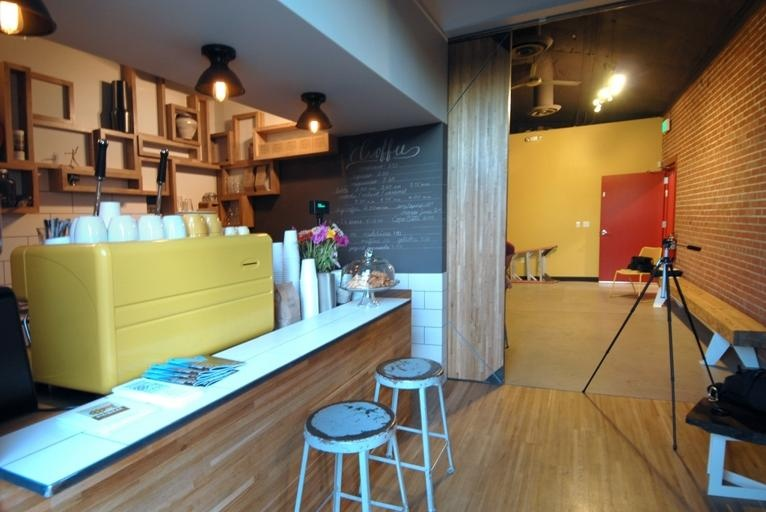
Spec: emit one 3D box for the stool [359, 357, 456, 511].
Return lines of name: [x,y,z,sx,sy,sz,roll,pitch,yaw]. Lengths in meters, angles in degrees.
stool: [0.229,1.172,3.854,0.848,1.326,0.882,0,8,14]

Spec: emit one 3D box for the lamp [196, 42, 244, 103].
lamp: [-1.036,-1.199,3.298,0.365,0.371,0.354,3,5,13]

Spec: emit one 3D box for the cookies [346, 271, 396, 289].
cookies: [-0.100,0.194,4.051,0.414,0.138,0.134,-3,6,-3]

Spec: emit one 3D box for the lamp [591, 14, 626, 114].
lamp: [2.056,-1.718,4.437,0.278,0.813,0.084,1,7,24]

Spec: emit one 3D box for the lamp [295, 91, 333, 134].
lamp: [-0.580,-1.163,4.008,0.250,0.304,0.383,-3,7,-9]

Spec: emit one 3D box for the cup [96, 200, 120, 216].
cup: [-1.602,-0.288,2.867,0.107,0.119,0.104,0,5,0]

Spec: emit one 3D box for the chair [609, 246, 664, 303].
chair: [2.371,0.127,4.596,0.442,0.628,0.371,-4,10,-45]

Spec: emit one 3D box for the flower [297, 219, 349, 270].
flower: [-0.507,-0.110,4.173,0.392,0.405,0.398,-2,5,-3]

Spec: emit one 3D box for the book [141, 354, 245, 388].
book: [-1.075,0.625,2.696,0.240,0.059,0.234,3,4,30]
